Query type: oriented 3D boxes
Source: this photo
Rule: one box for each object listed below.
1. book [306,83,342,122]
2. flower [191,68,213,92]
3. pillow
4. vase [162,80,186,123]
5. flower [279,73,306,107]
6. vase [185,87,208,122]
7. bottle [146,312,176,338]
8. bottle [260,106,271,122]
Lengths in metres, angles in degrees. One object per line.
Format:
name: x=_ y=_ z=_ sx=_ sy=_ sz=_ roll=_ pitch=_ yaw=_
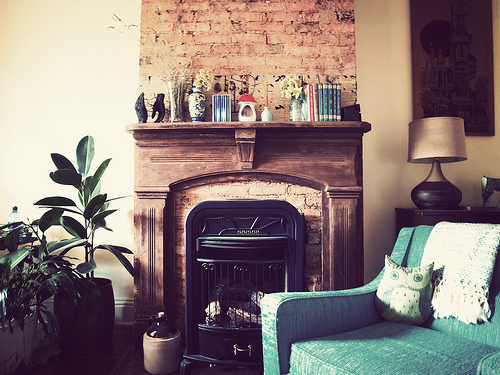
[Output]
book: x=0.527 y=-0.615 z=3.833 sx=0.257 sy=0.270 sz=0.070 roll=-2 pitch=3 yaw=1
flower: x=-0.351 y=-0.783 z=3.887 sx=0.131 sy=0.121 sz=0.156 roll=13 pitch=-6 yaw=-12
pillow: x=0.982 y=0.653 z=3.291 sx=0.381 sy=0.470 sz=0.180 roll=3 pitch=-7 yaw=18
vase: x=-0.559 y=-0.631 z=3.941 sx=0.193 sy=0.308 sz=0.198 roll=-4 pitch=5 yaw=-18
flower: x=0.315 y=-0.726 z=3.907 sx=0.176 sy=0.230 sz=0.137 roll=-2 pitch=3 yaw=5
vase: x=-0.388 y=-0.606 z=3.928 sx=0.134 sy=0.261 sz=0.139 roll=2 pitch=7 yaw=26
bottle: x=-0.638 y=0.976 z=3.781 sx=0.167 sy=0.157 sz=0.175 roll=1 pitch=-8 yaw=-3
bottle: x=0.123 y=-0.537 z=3.897 sx=0.092 sy=0.106 sz=0.157 roll=-2 pitch=3 yaw=2
